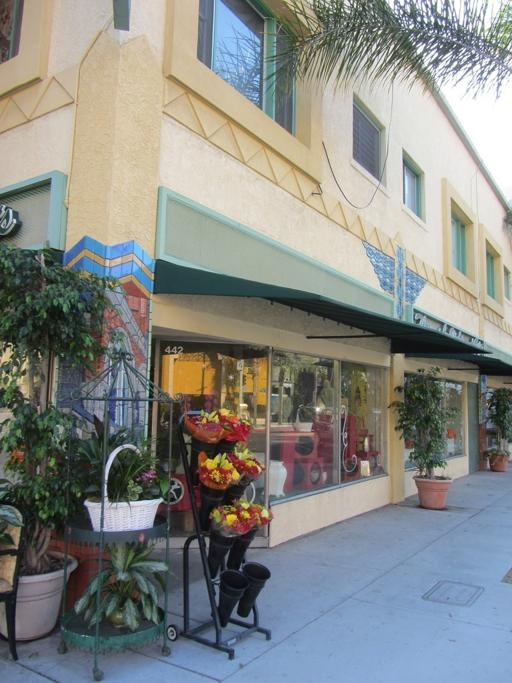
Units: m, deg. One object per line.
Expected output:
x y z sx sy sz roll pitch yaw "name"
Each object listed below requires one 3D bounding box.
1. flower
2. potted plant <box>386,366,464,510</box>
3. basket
-0.227 0.922 3.822 0.561 0.875 0.488 -4 -10 42 "flower"
3.451 1.827 10.853 1.139 2.674 2.560 -1 -8 21 "potted plant"
-0.813 0.904 3.358 0.426 0.520 0.286 9 -10 -41 "basket"
